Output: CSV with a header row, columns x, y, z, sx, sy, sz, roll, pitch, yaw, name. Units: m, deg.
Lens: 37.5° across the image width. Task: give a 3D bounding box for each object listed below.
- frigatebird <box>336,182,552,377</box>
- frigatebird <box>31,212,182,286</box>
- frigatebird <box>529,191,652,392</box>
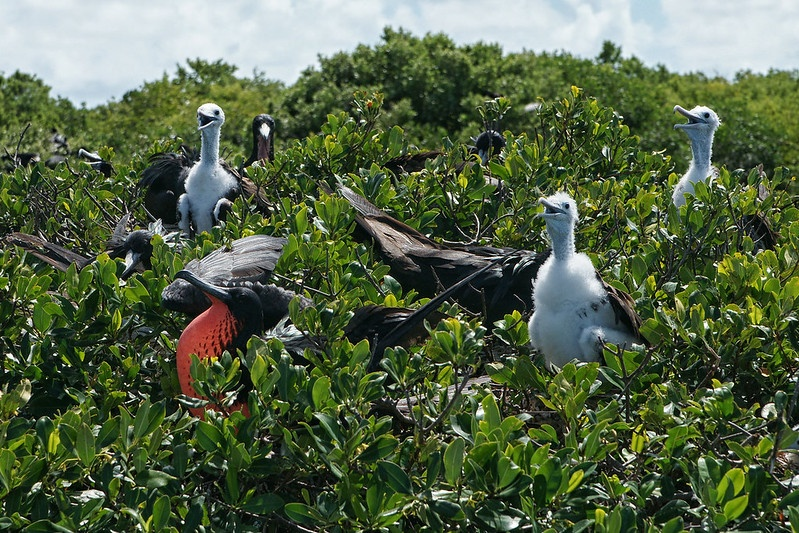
x,y,z,sx,sy,sz,roll,pitch,yaw,name
0.004,0.003,9.380,2.338,0.901,0.753,21,9,4,frigatebird
-2.313,-0.135,9.452,0.747,0.299,0.739,19,21,17,frigatebird
1.442,0.218,8.829,0.866,1.546,1.523,4,7,40,frigatebird
